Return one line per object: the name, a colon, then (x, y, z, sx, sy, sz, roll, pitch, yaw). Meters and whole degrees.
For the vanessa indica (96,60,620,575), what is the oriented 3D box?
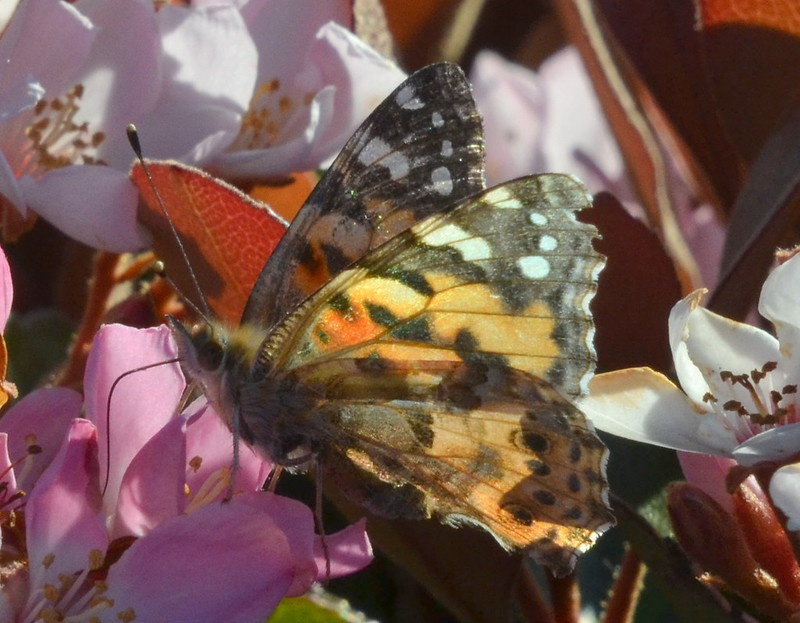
vanessa indica: (-0.009, 0.025, 1.094, 0.502, 0.455, 0.392, 17, 83, -14)
